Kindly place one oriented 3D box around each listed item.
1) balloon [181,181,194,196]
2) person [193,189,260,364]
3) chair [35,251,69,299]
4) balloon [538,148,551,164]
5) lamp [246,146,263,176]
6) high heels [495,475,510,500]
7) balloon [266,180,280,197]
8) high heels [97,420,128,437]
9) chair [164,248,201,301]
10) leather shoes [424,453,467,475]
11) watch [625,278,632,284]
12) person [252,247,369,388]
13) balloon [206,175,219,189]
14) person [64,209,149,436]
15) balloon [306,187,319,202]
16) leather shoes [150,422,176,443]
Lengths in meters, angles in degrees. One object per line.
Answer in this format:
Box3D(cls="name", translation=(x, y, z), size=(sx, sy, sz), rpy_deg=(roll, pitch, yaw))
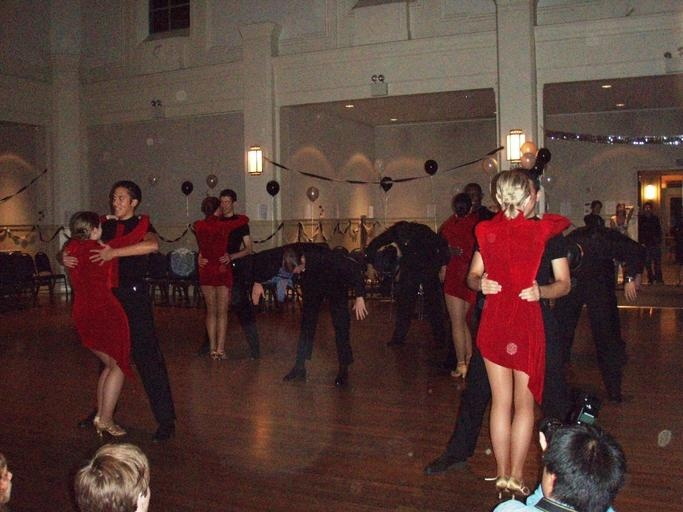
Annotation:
Box3D(cls="balloon", translation=(-3.227, -1.417, 12.370), size=(0.281, 0.320, 0.111), rpy_deg=(-4, 14, -9))
Box3D(cls="person", translation=(-1.311, 0.240, 6.543), size=(0.660, 1.912, 0.350), rpy_deg=(1, 5, 22))
Box3D(cls="chair", translation=(-5.876, 0.366, 11.762), size=(0.473, 0.901, 0.521), rpy_deg=(-10, 8, -38))
Box3D(cls="balloon", translation=(3.131, -1.553, 9.136), size=(0.191, 0.280, 0.822), rpy_deg=(1, 5, 20))
Box3D(cls="lamp", translation=(-1.665, -1.822, 11.351), size=(0.331, 0.559, 0.196), rpy_deg=(0, 5, 10))
Box3D(cls="high heels", translation=(1.000, 1.432, 3.651), size=(0.064, 0.146, 0.058), rpy_deg=(0, 4, 6))
Box3D(cls="balloon", translation=(-1.315, -1.278, 11.286), size=(0.260, 0.332, 0.361), rpy_deg=(-1, 5, -7))
Box3D(cls="high heels", translation=(-1.812, 1.335, 4.628), size=(0.183, 0.106, 0.120), rpy_deg=(2, 8, -14))
Box3D(cls="chair", translation=(-2.787, 0.339, 10.713), size=(0.608, 1.114, 0.665), rpy_deg=(-3, -13, -37))
Box3D(cls="leather shoes", translation=(0.677, 1.371, 3.963), size=(0.314, 0.146, 0.123), rpy_deg=(-1, -1, -15))
Box3D(cls="watch", translation=(2.234, 0.190, 4.578), size=(0.050, 0.041, 0.052), rpy_deg=(-1, -16, -1))
Box3D(cls="person", translation=(-0.316, 0.543, 5.766), size=(1.547, 1.328, 0.654), rpy_deg=(-2, 15, 8))
Box3D(cls="balloon", translation=(-2.700, -1.534, 12.282), size=(0.273, 0.347, 0.265), rpy_deg=(1, 0, 45))
Box3D(cls="person", translation=(-1.835, 0.541, 4.441), size=(0.489, 1.734, 0.288), rpy_deg=(-2, 5, -11))
Box3D(cls="balloon", translation=(-0.612, -1.283, 12.389), size=(0.262, 0.293, 0.276), rpy_deg=(0, 0, -3))
Box3D(cls="leather shoes", translation=(-1.356, 1.345, 4.479), size=(0.172, 0.125, 0.095), rpy_deg=(8, 0, -27))
